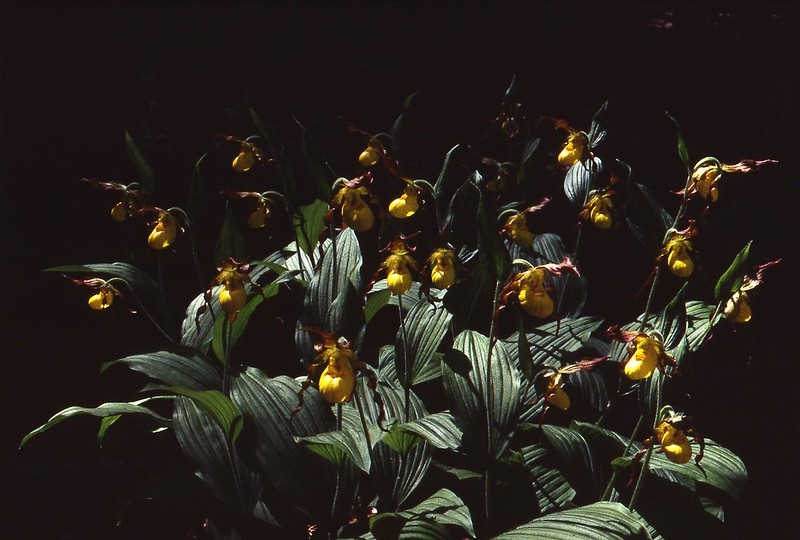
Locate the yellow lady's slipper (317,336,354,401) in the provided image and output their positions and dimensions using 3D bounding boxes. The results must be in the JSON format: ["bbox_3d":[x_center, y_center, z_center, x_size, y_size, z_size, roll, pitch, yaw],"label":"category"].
[{"bbox_3d":[-0.335,0.530,4.260,0.188,0.330,0.148,-12,-4,6],"label":"yellow lady's slipper"}]

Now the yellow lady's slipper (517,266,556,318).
[{"bbox_3d":[0.751,0.127,4.353,0.195,0.276,0.128,-8,-1,-12],"label":"yellow lady's slipper"}]

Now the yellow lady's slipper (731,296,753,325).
[{"bbox_3d":[1.948,0.226,4.461,0.093,0.157,0.417,5,-6,22],"label":"yellow lady's slipper"}]

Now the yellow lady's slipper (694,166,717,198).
[{"bbox_3d":[1.762,-0.505,4.479,0.152,0.161,0.074,0,7,20],"label":"yellow lady's slipper"}]

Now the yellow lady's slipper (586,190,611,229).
[{"bbox_3d":[1.284,-0.380,4.983,0.200,0.232,0.141,8,-5,-5],"label":"yellow lady's slipper"}]

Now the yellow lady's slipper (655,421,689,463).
[{"bbox_3d":[1.478,0.936,4.344,0.165,0.222,0.100,-27,-1,-17],"label":"yellow lady's slipper"}]

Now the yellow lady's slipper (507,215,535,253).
[{"bbox_3d":[0.744,-0.255,4.938,0.167,0.192,0.176,8,-5,-13],"label":"yellow lady's slipper"}]

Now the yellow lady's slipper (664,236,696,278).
[{"bbox_3d":[1.605,-0.078,4.474,0.139,0.235,0.109,2,-5,4],"label":"yellow lady's slipper"}]

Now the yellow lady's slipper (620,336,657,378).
[{"bbox_3d":[1.339,0.490,4.348,0.193,0.252,0.115,18,-33,33],"label":"yellow lady's slipper"}]

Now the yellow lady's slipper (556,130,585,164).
[{"bbox_3d":[1.143,-0.768,5.109,0.094,0.211,0.157,32,-3,-41],"label":"yellow lady's slipper"}]
